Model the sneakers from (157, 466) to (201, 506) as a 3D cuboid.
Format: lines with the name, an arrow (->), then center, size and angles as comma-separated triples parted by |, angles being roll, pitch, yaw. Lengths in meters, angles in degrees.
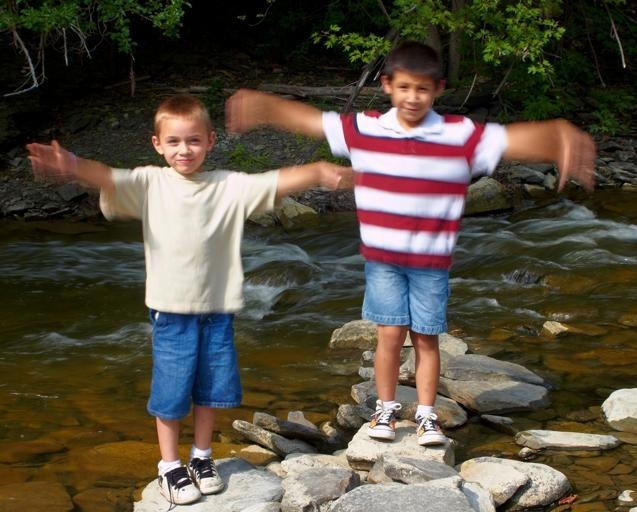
sneakers -> -0.680, 1.122, 3.387 | 0.134, 0.085, 0.271 | -6, 0, -33

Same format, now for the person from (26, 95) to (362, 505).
person -> -0.659, 0.203, 3.431 | 1.281, 1.984, 0.530 | 4, 12, 15

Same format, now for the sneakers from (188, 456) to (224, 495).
sneakers -> -0.560, 1.087, 3.465 | 0.122, 0.080, 0.270 | -14, 13, -23
